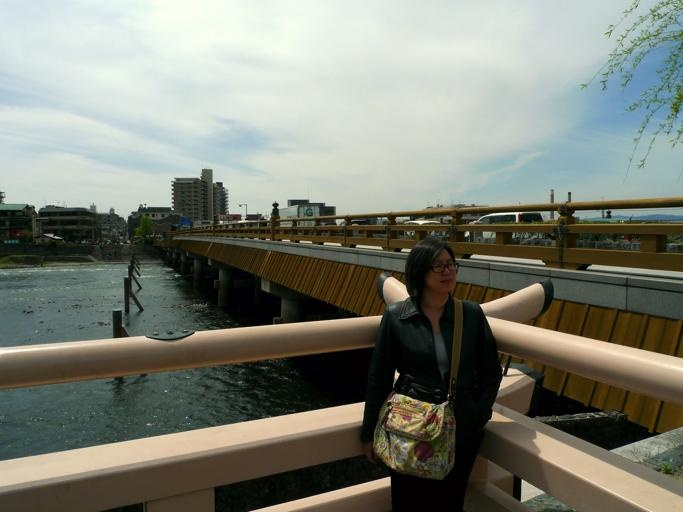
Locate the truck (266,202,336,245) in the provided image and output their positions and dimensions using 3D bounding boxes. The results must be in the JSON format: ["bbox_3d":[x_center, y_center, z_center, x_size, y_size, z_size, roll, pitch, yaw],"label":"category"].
[{"bbox_3d":[-2.110,-2.165,25.067,1.517,2.142,2.683,-23,26,-33],"label":"truck"}]

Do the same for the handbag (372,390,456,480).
[{"bbox_3d":[0.336,0.796,2.052,0.216,0.329,0.414,9,-12,-36],"label":"handbag"}]
